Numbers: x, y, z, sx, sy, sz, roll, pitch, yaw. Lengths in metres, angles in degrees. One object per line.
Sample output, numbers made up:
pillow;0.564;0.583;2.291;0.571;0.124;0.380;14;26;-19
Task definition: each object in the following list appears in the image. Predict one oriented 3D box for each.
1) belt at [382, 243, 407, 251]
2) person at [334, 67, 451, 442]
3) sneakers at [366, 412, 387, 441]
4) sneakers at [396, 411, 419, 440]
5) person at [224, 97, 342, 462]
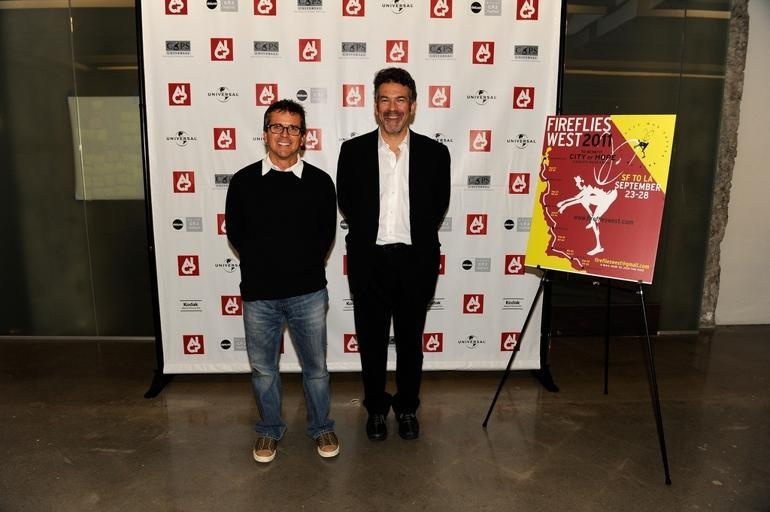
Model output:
belt;0.081;-0.057;4.983;0.222;0.080;0.031;-2;12;-8
person;0.045;0.013;5.094;0.891;2.877;0.415;1;12;5
sneakers;-0.068;1.374;5.189;0.112;0.097;0.239;1;11;-3
sneakers;0.189;1.368;5.207;0.111;0.099;0.251;-2;12;-7
person;-0.786;0.212;4.923;0.833;2.710;0.475;-1;12;-5
